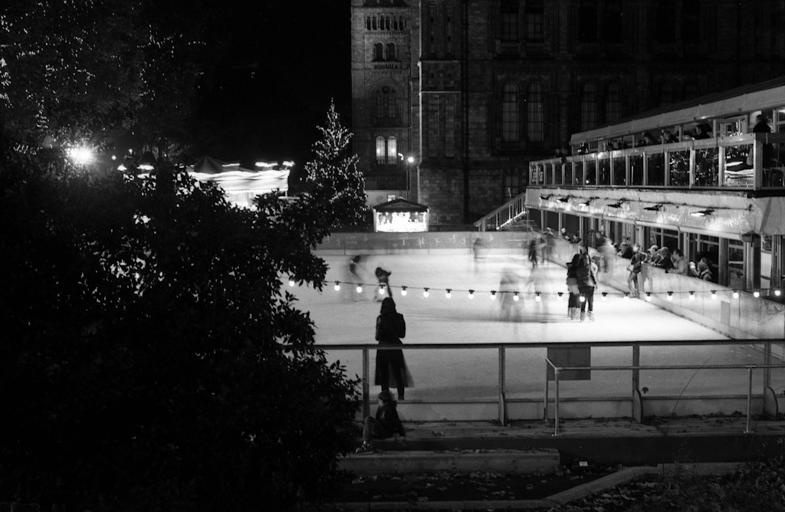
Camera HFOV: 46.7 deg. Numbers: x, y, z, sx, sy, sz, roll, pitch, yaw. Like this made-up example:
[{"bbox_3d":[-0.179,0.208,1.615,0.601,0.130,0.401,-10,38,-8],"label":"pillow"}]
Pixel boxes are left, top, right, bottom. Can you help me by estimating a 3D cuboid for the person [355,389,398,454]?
[{"bbox_3d":[-0.216,2.384,12.944,0.593,0.914,0.632,16,-14,-35],"label":"person"}]
